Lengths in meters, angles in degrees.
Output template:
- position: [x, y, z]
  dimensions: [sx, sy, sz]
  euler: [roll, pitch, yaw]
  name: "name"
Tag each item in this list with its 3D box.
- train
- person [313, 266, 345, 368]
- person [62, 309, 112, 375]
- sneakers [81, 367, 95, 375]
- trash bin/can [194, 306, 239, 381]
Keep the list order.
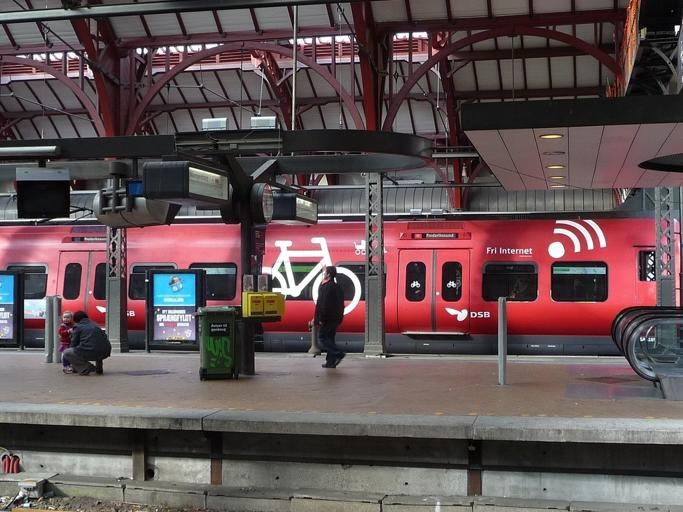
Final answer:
- position: [0.287, 0.643, 23.101]
  dimensions: [16.837, 3.890, 2.870]
  euler: [-1, -5, 5]
  name: "train"
- position: [-0.275, 1.308, 18.549]
  dimensions: [0.611, 2.224, 1.303]
  euler: [0, -5, -1]
  name: "person"
- position: [-5.396, 1.835, 18.059]
  dimensions: [0.868, 1.320, 0.940]
  euler: [-4, -3, 19]
  name: "person"
- position: [-5.277, 2.365, 17.786]
  dimensions: [0.204, 0.191, 0.370]
  euler: [-1, -6, 15]
  name: "sneakers"
- position: [-2.435, 1.717, 16.828]
  dimensions: [0.804, 1.436, 0.371]
  euler: [1, -5, -8]
  name: "trash bin/can"
